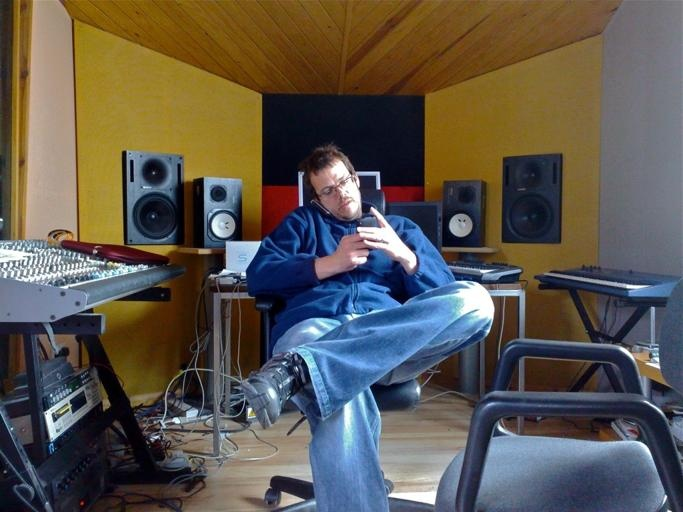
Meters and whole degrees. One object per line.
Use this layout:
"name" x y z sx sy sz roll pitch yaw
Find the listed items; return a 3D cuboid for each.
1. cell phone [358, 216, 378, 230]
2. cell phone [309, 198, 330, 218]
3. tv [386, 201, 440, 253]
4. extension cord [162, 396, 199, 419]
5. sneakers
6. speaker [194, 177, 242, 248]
"cell phone" 0.113 -0.134 2.482 0.065 0.051 0.037 -3 -15 29
"cell phone" -0.094 -0.206 2.617 0.111 0.016 0.063 43 2 38
"tv" 0.374 -0.140 2.970 0.303 0.288 0.046 0 -6 -1
"extension cord" -0.941 0.875 3.426 0.171 0.036 0.331 -6 12 -32
"sneakers" -0.206 0.430 1.959 0.249 0.163 0.113 -40 -6 -36
"speaker" -0.752 -0.262 3.581 0.306 0.421 0.236 -3 10 -15
